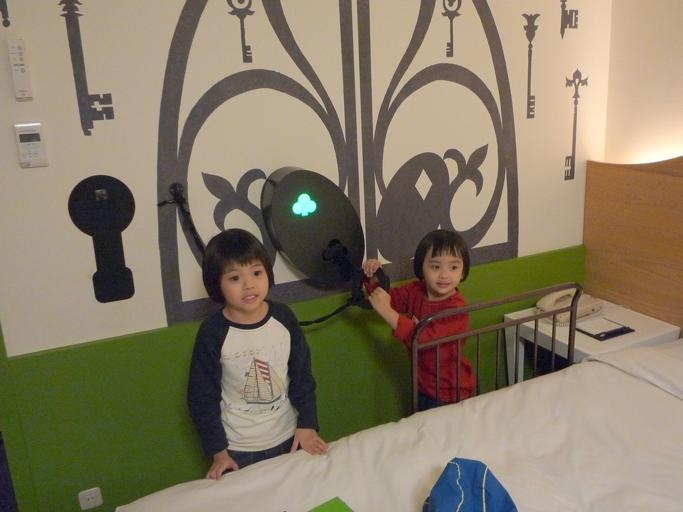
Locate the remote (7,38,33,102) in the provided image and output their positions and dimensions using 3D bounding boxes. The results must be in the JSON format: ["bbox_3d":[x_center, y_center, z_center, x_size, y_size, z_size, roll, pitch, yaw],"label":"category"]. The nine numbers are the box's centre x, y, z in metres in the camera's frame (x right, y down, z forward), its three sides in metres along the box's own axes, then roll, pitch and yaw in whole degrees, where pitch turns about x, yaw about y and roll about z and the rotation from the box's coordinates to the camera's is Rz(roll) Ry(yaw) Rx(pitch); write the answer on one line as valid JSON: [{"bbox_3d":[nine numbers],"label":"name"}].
[{"bbox_3d":[-1.314,-0.740,2.228,0.071,0.243,0.033,-8,12,-22],"label":"remote"}]

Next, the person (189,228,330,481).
[{"bbox_3d":[-0.367,0.569,2.329,0.497,1.448,0.465,-8,27,-16],"label":"person"}]

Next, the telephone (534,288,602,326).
[{"bbox_3d":[1.321,0.260,3.173,0.320,0.114,0.257,-17,27,-21],"label":"telephone"}]

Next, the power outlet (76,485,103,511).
[{"bbox_3d":[-1.176,1.104,2.528,0.108,0.134,0.019,0,1,-27],"label":"power outlet"}]

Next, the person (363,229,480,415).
[{"bbox_3d":[0.429,0.511,2.749,0.462,1.305,0.458,-8,20,-16],"label":"person"}]

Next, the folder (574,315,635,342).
[{"bbox_3d":[1.456,0.406,3.088,0.136,0.026,0.160,-17,26,-22],"label":"folder"}]
